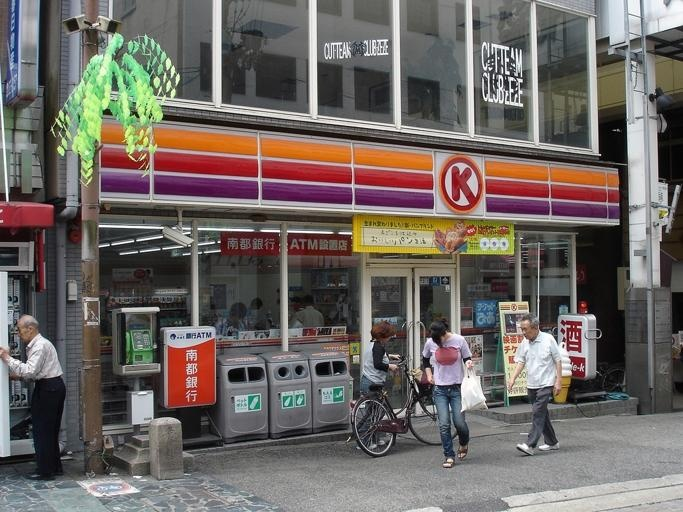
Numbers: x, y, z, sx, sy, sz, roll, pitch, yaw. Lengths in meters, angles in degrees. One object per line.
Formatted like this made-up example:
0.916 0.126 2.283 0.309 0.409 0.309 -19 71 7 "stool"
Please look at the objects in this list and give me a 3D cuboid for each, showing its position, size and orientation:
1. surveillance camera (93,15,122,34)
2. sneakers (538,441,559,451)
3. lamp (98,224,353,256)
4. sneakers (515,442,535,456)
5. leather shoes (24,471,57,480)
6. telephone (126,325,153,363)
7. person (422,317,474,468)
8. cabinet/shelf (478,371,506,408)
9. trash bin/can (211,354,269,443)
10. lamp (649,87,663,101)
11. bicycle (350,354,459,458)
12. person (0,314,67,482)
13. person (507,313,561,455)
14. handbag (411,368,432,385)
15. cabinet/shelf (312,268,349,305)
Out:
-3.055 -3.006 9.801 0.236 0.215 0.302 0 2 20 "surveillance camera"
3.238 2.982 11.705 0.332 0.155 0.126 2 -6 -7 "sneakers"
-1.800 -0.233 12.561 4.249 0.502 0.367 1 1 -26 "lamp"
2.834 2.946 11.401 0.351 0.163 0.128 33 -24 -19 "sneakers"
-3.908 2.913 9.816 0.358 0.164 0.135 -1 -2 -2 "leather shoes"
-2.978 1.366 11.234 0.289 0.518 0.269 -2 6 -24 "telephone"
1.558 2.006 11.014 0.691 2.082 0.592 1 1 6 "person"
2.990 2.702 15.059 0.611 0.614 0.494 -1 -13 5 "cabinet/shelf"
-1.565 2.296 11.949 0.868 1.320 0.414 1 1 -8 "trash bin/can"
6.432 -3.294 15.347 0.264 0.215 0.273 1 1 24 "lamp"
0.904 2.600 12.072 0.907 1.479 2.198 -15 -22 41 "bicycle"
-4.003 1.876 9.911 0.703 2.118 0.402 1 1 -17 "person"
2.976 1.974 11.489 0.725 1.446 0.861 1 1 15 "person"
1.345 2.005 12.460 0.304 0.149 0.384 5 0 -21 "handbag"
-0.120 0.580 13.439 0.707 0.707 0.249 -1 6 37 "cabinet/shelf"
